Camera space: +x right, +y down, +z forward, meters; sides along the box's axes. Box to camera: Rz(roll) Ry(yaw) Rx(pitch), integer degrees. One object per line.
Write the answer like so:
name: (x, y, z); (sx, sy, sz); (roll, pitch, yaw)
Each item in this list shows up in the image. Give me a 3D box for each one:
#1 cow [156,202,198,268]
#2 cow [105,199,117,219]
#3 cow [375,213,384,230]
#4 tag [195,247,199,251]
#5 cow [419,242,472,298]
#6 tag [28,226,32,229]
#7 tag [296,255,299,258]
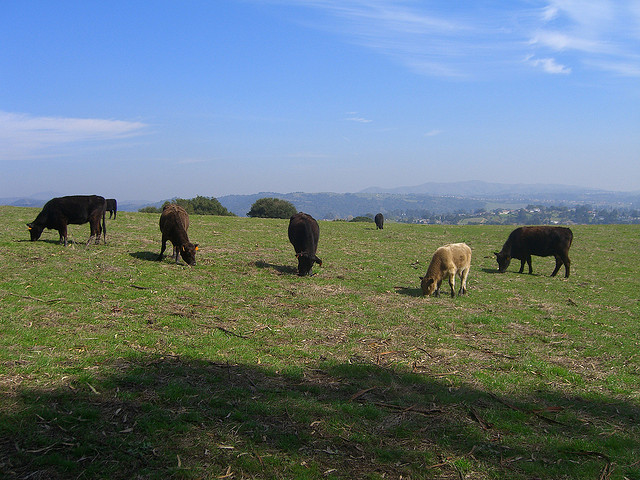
cow: (-6.324, -0.172, 21.748); (1.574, 2.630, 2.348); (-5, 11, -17)
cow: (-15.741, -2.347, 37.211); (0.542, 1.387, 2.034); (-6, 11, -20)
cow: (5.601, -1.761, 46.444); (0.669, 1.582, 2.533); (0, 10, 7)
tag: (-5.918, 0.411, 23.561); (0.077, 0.185, 0.192); (-14, -8, 34)
cow: (5.084, 1.252, 19.737); (1.149, 2.083, 3.803); (2, 11, 42)
tag: (-13.461, -0.571, 22.837); (0.044, 0.173, 0.334); (-5, -6, -20)
tag: (-1.017, 0.733, 22.064); (0.085, 0.093, 0.359); (11, -2, -5)
